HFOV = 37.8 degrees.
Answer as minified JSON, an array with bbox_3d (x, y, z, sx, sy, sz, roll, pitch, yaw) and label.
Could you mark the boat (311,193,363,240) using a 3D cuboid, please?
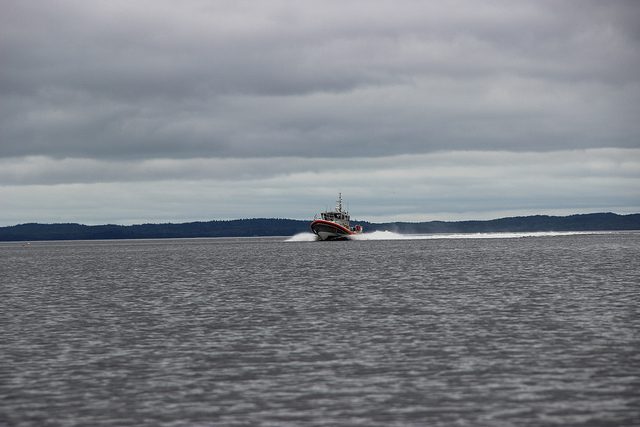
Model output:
[{"bbox_3d":[2.476,2.380,219.511,7.447,8.363,10.472,-4,1,9],"label":"boat"}]
